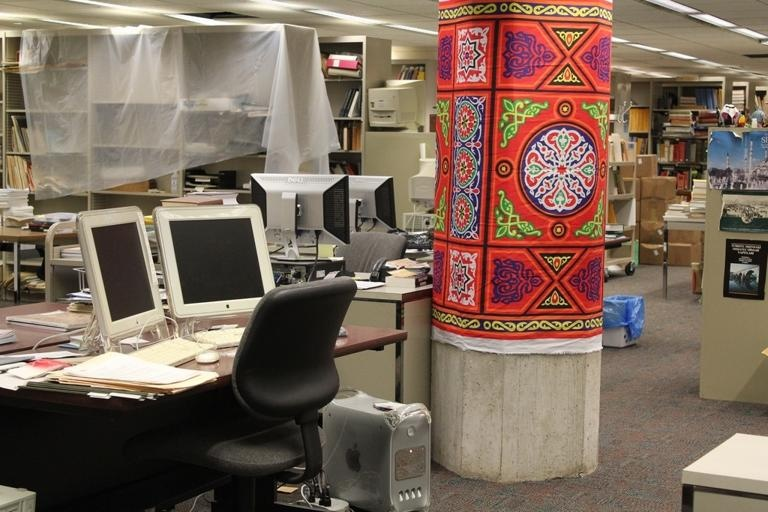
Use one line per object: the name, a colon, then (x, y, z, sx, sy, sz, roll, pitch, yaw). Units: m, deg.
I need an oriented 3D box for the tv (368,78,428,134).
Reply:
tv: (0.177, -1.981, 8.539, 0.581, 0.755, 0.827, 9, 19, 31)

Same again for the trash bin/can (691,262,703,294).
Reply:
trash bin/can: (4.321, 0.299, 8.698, 0.154, 0.441, 0.172, 7, 12, 18)

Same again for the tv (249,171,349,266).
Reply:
tv: (-0.608, -0.282, 4.584, 0.807, 0.597, 0.226, 3, 13, 13)

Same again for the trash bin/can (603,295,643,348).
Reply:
trash bin/can: (2.418, 0.655, 6.546, 0.518, 0.418, 0.510, 4, 9, 12)

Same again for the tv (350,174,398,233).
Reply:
tv: (-0.096, -0.453, 5.347, 0.434, 0.454, 0.269, 0, 12, -14)

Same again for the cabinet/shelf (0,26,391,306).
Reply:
cabinet/shelf: (-1.987, -1.348, 6.694, 3.683, 1.813, 1.049, 5, 7, 19)

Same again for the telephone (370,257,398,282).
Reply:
telephone: (0.010, 0.094, 4.449, 0.167, 0.072, 0.216, 0, 4, 12)

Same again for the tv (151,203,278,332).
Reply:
tv: (-0.733, 0.033, 3.028, 0.595, 0.601, 0.317, -4, 23, 23)
